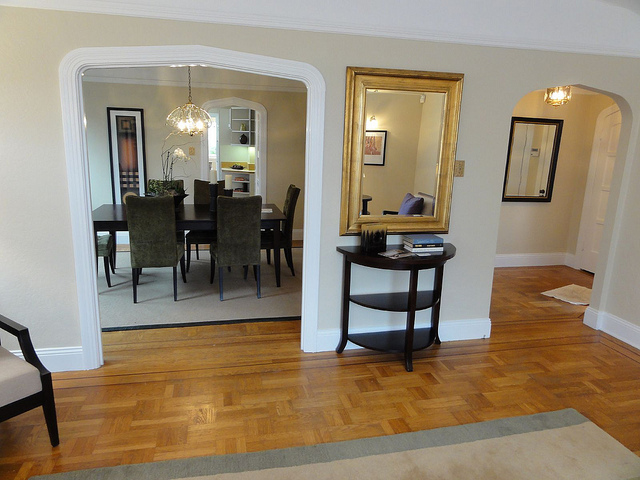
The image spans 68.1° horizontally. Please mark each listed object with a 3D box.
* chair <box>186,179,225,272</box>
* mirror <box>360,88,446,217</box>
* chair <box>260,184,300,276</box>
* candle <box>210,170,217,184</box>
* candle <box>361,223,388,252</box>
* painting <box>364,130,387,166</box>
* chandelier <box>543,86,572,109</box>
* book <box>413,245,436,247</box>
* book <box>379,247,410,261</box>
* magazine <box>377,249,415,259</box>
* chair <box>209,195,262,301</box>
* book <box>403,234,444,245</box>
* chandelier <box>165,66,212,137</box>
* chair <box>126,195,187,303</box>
[{"bbox_3d":[-1.473,-0.475,6.255,0.543,0.850,0.587,-8,-16,14],"label":"chair"},{"bbox_3d":[0.680,-0.726,4.058,0.699,1.061,0.103,1,14,-17],"label":"mirror"},{"bbox_3d":[-0.472,-0.144,5.956,0.582,1.085,0.514,-1,11,-15],"label":"chair"},{"bbox_3d":[-1.253,-0.746,5.574,0.058,0.169,0.133,-7,15,-21],"label":"candle"},{"bbox_3d":[0.456,-0.022,4.044,0.241,0.220,0.123,-1,9,-9],"label":"candle"},{"bbox_3d":[0.447,-0.784,4.034,0.273,0.292,0.014,-6,14,-34],"label":"painting"},{"bbox_3d":[2.860,-1.676,5.750,0.291,0.310,0.286,-4,8,-43],"label":"chandelier"},{"bbox_3d":[0.882,0.047,4.020,0.194,0.029,0.012,-3,15,-12],"label":"book"},{"bbox_3d":[0.625,0.115,3.968,0.228,0.031,0.235,-9,15,-32],"label":"book"},{"bbox_3d":[0.636,0.113,3.969,0.260,0.022,0.173,-12,17,-41],"label":"magazine"},{"bbox_3d":[-0.912,0.081,5.166,0.511,1.133,0.559,2,10,-14],"label":"chair"},{"bbox_3d":[0.890,-0.004,4.061,0.310,0.065,0.132,-2,13,-6],"label":"book"},{"bbox_3d":[-1.875,-1.909,6.662,0.600,0.904,1.406,-5,14,-16],"label":"chandelier"},{"bbox_3d":[-1.724,0.092,4.964,0.554,1.160,0.342,-6,15,-20],"label":"chair"}]
